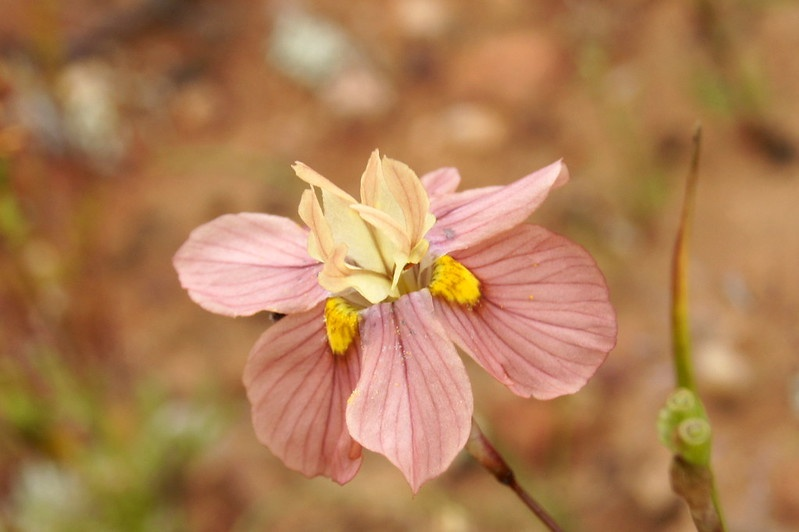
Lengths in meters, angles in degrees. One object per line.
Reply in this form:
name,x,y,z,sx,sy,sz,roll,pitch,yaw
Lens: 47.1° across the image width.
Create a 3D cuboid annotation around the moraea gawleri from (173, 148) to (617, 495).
moraea gawleri,-0.003,0.060,1.267,0.488,0.260,0.528,-5,77,23
